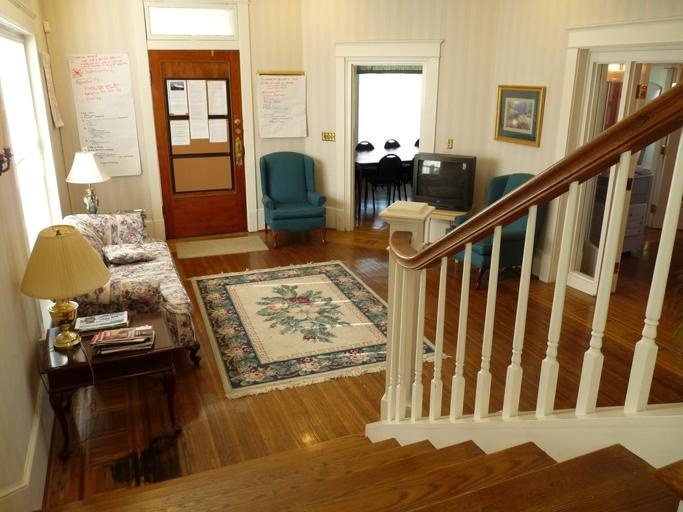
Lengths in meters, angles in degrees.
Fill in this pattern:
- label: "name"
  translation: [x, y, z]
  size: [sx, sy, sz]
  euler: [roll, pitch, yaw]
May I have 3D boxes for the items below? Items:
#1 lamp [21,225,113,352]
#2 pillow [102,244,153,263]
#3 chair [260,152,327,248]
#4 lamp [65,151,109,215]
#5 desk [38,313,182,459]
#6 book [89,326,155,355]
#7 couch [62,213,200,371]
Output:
- label: "lamp"
  translation: [-1.800, 0.241, 3.238]
  size: [0.499, 0.853, 0.439]
  euler: [-7, 21, -14]
- label: "pillow"
  translation: [-2.256, -0.030, 5.119]
  size: [0.340, 0.077, 0.282]
  euler: [-2, 18, -16]
- label: "chair"
  translation: [-0.729, -0.887, 7.276]
  size: [0.892, 1.254, 0.972]
  euler: [-4, 20, -8]
- label: "lamp"
  translation: [-2.979, -0.869, 5.733]
  size: [0.397, 0.752, 1.003]
  euler: [-11, 22, -24]
- label: "desk"
  translation: [-1.680, 1.030, 3.724]
  size: [1.112, 0.708, 0.819]
  euler: [-5, 24, -19]
- label: "book"
  translation: [-1.535, 0.600, 3.408]
  size: [0.250, 0.051, 0.230]
  euler: [-3, 22, -12]
- label: "couch"
  translation: [-2.402, 0.027, 5.287]
  size: [1.177, 0.883, 2.817]
  euler: [-2, 7, -26]
